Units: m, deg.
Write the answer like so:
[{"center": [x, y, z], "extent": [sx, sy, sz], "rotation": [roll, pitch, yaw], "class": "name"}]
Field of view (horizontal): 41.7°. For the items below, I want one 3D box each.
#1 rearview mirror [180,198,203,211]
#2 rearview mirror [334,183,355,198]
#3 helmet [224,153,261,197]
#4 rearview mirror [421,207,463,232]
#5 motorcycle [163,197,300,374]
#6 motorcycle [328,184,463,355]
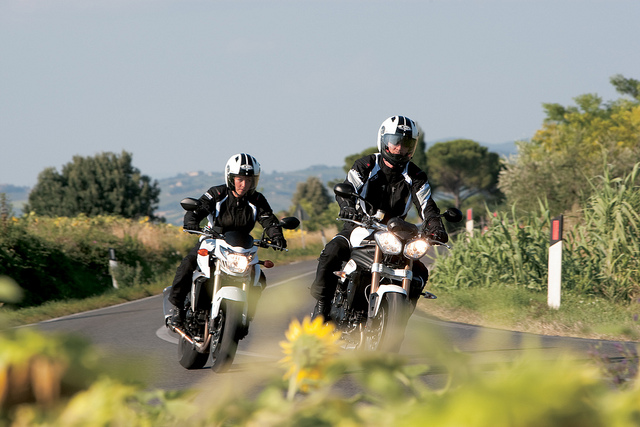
[{"center": [-1.661, -0.105, 10.715], "extent": [0.149, 0.103, 0.193], "rotation": [-1, -7, 21], "class": "rearview mirror"}, {"center": [0.278, -0.263, 10.159], "extent": [0.200, 0.094, 0.157], "rotation": [8, -5, -38], "class": "rearview mirror"}, {"center": [-1.056, -0.517, 11.298], "extent": [0.493, 0.587, 0.601], "rotation": [4, 9, -23], "class": "helmet"}, {"center": [1.548, 0.062, 10.570], "extent": [0.485, 0.276, 0.209], "rotation": [-19, -25, 20], "class": "rearview mirror"}, {"center": [-1.340, 0.935, 10.757], "extent": [1.086, 2.161, 0.653], "rotation": [2, -4, 26], "class": "motorcycle"}, {"center": [0.771, 0.713, 10.298], "extent": [1.339, 2.035, 1.049], "rotation": [3, -4, 17], "class": "motorcycle"}]
